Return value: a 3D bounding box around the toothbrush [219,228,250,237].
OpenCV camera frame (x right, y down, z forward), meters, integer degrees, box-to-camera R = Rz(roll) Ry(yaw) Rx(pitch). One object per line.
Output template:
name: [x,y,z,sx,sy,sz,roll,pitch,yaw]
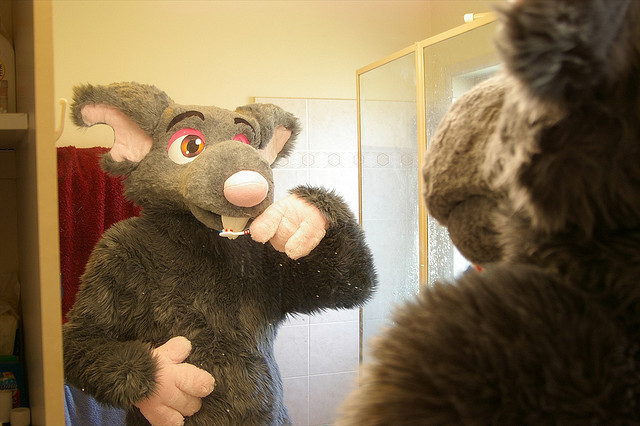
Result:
toothbrush: [-0.162,0.038,1.171,0.072,0.007,0.019,-1,-47,-12]
